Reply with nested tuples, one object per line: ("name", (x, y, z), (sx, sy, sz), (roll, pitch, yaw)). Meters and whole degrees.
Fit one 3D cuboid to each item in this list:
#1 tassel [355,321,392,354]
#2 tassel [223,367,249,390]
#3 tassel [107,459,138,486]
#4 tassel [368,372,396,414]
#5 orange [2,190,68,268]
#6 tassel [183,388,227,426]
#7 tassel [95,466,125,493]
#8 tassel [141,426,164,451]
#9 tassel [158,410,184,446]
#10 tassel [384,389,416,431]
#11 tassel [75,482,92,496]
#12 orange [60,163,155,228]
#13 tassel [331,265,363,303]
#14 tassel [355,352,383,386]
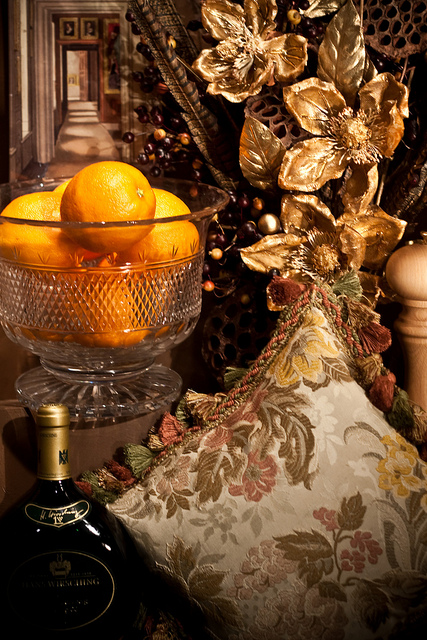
("tassel", (0.147, 0.016, 0.528), (0.031, 0.025, 0.014), (47, -12, 37))
("tassel", (0.026, 0.062, 0.611), (0.021, 0.022, 0.006), (55, 15, 9))
("tassel", (-0.097, 0.164, 0.615), (0.034, 0.018, 0.010), (36, 45, 7))
("tassel", (0.150, 0.066, 0.512), (0.028, 0.030, 0.014), (25, 2, 17))
("orange", (-0.153, -0.076, 0.508), (0.076, 0.078, 0.068), (0, 8, -16))
("tassel", (-0.012, 0.088, 0.589), (0.040, 0.035, 0.043), (-10, 21, -28))
("tassel", (-0.110, 0.172, 0.616), (0.030, 0.023, 0.013), (28, -5, 23))
("tassel", (-0.060, 0.124, 0.620), (0.025, 0.012, 0.018), (33, 32, -61))
("tassel", (-0.046, 0.112, 0.597), (0.025, 0.028, 0.008), (-3, -23, 15))
("tassel", (0.165, 0.081, 0.515), (0.035, 0.012, 0.038), (4, 49, -6))
("tassel", (-0.137, 0.183, 0.625), (0.015, 0.002, 0.014), (28, 15, -19))
("orange", (-0.095, -0.098, 0.497), (0.059, 0.061, 0.053), (-6, -27, 19))
("tassel", (0.132, -0.036, 0.562), (0.032, 0.028, 0.014), (12, -4, 40))
("tassel", (0.141, 0.044, 0.517), (0.021, 0.012, 0.029), (47, 31, -1))
